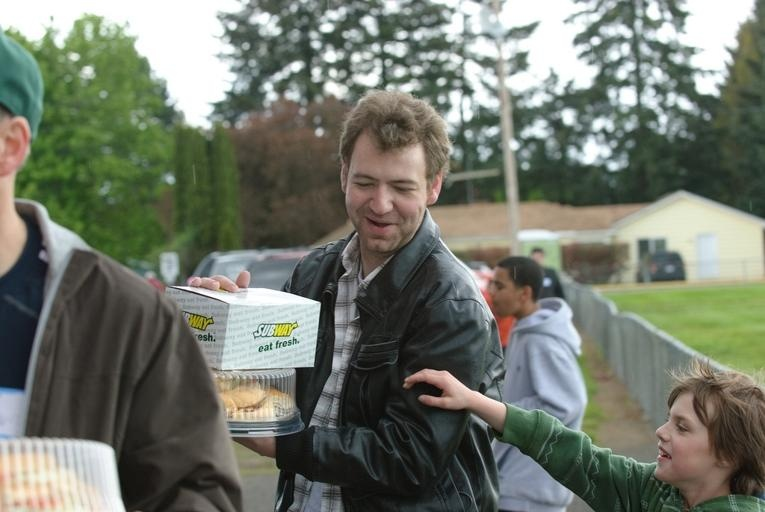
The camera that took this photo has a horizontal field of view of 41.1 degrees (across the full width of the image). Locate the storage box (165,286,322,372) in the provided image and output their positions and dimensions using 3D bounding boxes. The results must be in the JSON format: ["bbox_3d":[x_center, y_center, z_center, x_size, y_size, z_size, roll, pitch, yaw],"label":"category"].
[{"bbox_3d":[-0.788,0.471,5.634,0.801,0.372,0.766,1,-9,-28],"label":"storage box"}]
